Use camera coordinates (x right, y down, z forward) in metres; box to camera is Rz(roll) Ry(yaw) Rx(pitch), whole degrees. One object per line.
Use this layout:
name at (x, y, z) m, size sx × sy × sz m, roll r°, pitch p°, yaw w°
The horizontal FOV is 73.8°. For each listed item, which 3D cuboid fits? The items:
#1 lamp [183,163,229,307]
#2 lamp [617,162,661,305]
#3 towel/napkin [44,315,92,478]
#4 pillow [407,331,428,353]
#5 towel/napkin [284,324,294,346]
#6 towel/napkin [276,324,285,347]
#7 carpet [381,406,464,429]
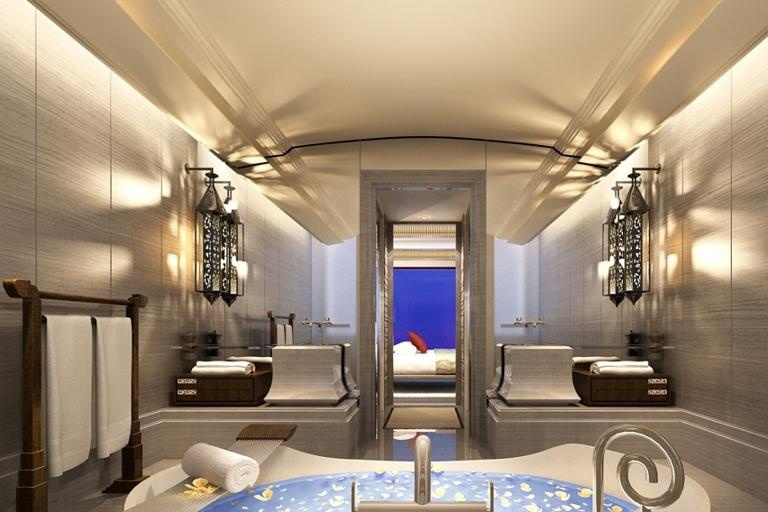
lamp at (-1.763, -0.219, 5.136) m, size 0.409 × 1.343 × 0.195 m, roll 1°, pitch -7°, yaw -20°
lamp at (2.524, -0.220, 5.085) m, size 0.371 × 1.331 × 0.146 m, roll -5°, pitch -7°, yaw 24°
towel/napkin at (-2.127, 0.913, 3.458) m, size 0.081 × 1.023 × 0.365 m, roll -4°, pitch -7°, yaw 19°
pillow at (0.634, 1.565, 9.331) m, size 0.284 × 0.182 × 0.528 m, roll 1°, pitch 6°, yaw -7°
towel/napkin at (-0.978, 0.798, 5.294) m, size 0.077 × 0.200 × 0.025 m, roll -1°, pitch -7°, yaw -8°
towel/napkin at (-1.066, 0.796, 5.290) m, size 0.083 × 0.213 × 0.035 m, roll 1°, pitch -7°, yaw -19°
carpet at (0.497, 1.949, 6.254) m, size 0.899 × 0.107 × 1.092 m, roll -3°, pitch -8°, yaw 7°
